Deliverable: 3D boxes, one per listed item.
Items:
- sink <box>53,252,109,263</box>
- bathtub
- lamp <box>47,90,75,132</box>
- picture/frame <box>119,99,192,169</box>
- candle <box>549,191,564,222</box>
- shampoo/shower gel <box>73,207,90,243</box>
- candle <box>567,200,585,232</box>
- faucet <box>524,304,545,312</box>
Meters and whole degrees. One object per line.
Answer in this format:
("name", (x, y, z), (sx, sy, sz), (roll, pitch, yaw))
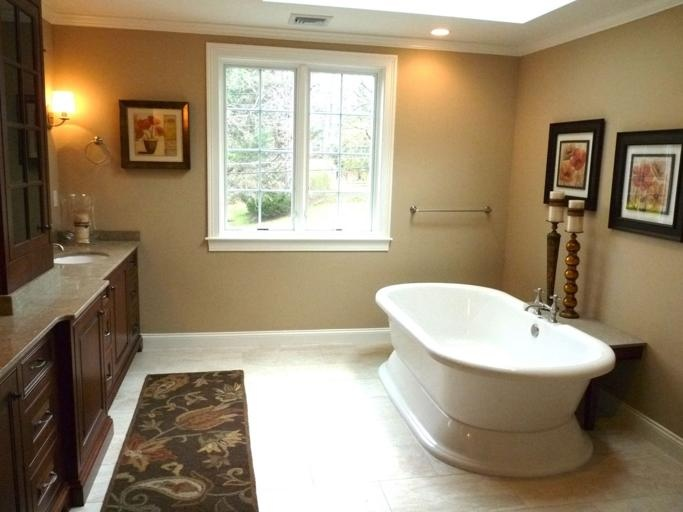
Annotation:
("sink", (-2.024, 0.020, 3.887), (0.417, 0.078, 0.152), (0, 13, -7))
("bathtub", (1.023, 0.790, 3.681), (1.214, 0.791, 1.721), (-2, 13, -17))
("lamp", (-2.285, -1.158, 4.041), (0.188, 0.295, 0.159), (-3, -1, -25))
("picture/frame", (-1.623, -1.045, 4.246), (0.568, 0.614, 0.046), (0, 5, -14))
("candle", (1.717, -0.378, 3.979), (0.111, 0.244, 0.131), (7, 14, 22))
("shampoo/shower gel", (-2.207, -0.233, 4.228), (0.132, 0.264, 0.162), (-5, 14, -27))
("candle", (1.768, -0.284, 3.758), (0.106, 0.242, 0.068), (5, 13, 15))
("faucet", (1.449, 0.400, 3.738), (0.079, 0.034, 0.083), (1, 6, 6))
